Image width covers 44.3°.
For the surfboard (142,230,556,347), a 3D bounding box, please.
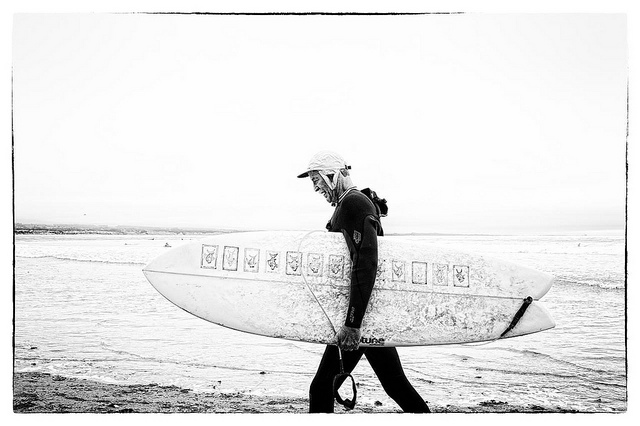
[{"bbox_3d":[0.479,1.281,13.439,6.352,1.919,0.584,2,-2,6],"label":"surfboard"}]
